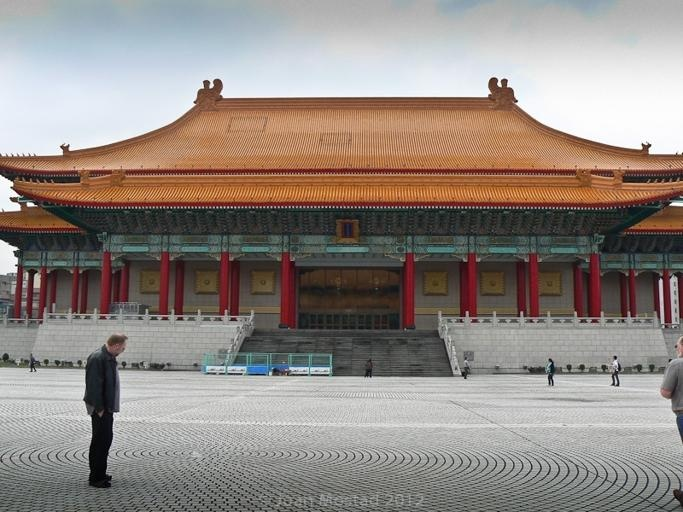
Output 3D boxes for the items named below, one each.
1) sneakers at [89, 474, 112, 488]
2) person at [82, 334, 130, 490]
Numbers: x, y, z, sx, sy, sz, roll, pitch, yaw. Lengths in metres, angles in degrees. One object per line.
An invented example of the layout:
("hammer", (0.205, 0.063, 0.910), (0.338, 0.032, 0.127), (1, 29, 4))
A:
("sneakers", (-4.358, 4.083, 14.278), (0.163, 0.192, 0.487), (42, 15, 25))
("person", (-4.396, 2.817, 14.613), (0.699, 2.756, 0.542), (1, -10, -3))
